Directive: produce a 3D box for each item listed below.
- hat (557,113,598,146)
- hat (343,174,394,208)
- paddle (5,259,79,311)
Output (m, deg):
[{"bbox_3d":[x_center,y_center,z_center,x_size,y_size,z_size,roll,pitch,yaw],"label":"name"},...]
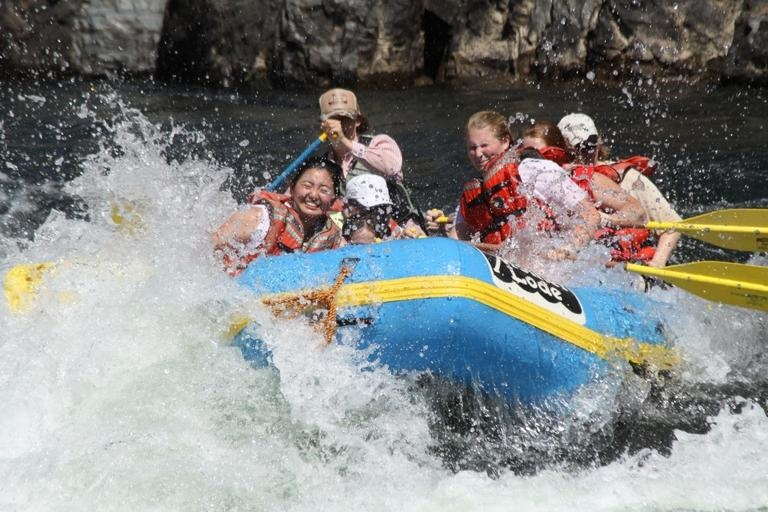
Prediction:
[{"bbox_3d":[1.968,-1.298,9.082,0.391,0.140,0.355,-9,63,-8],"label":"hat"},{"bbox_3d":[-0.130,-0.649,8.751,0.472,0.642,0.309,1,95,-26],"label":"hat"},{"bbox_3d":[-3.176,0.206,7.951,0.345,0.146,0.589,31,65,13],"label":"paddle"}]
